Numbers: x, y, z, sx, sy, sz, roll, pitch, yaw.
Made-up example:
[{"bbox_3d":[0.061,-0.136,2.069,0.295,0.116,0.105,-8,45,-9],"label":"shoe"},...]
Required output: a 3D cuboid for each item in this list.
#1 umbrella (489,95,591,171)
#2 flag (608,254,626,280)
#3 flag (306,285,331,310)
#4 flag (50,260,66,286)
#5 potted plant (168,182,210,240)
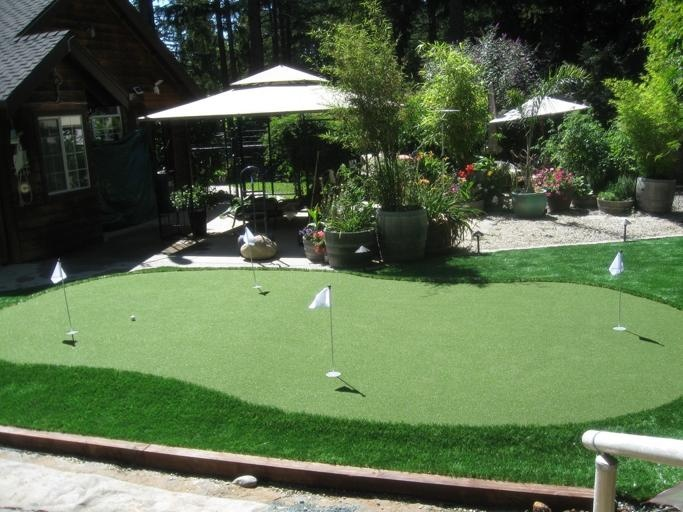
[{"bbox_3d":[5.075,-2.638,16.457,2.149,1.792,2.521,-10,15,7],"label":"umbrella"},{"bbox_3d":[3.773,0.161,9.232,0.176,0.319,0.142,12,55,25],"label":"flag"},{"bbox_3d":[-0.297,0.531,8.473,0.255,0.325,0.299,10,18,26],"label":"flag"},{"bbox_3d":[-4.390,0.276,10.428,0.032,0.444,0.325,31,33,31],"label":"flag"},{"bbox_3d":[-3.324,-1.117,15.599,0.728,1.138,0.842,-3,4,-38],"label":"potted plant"}]
